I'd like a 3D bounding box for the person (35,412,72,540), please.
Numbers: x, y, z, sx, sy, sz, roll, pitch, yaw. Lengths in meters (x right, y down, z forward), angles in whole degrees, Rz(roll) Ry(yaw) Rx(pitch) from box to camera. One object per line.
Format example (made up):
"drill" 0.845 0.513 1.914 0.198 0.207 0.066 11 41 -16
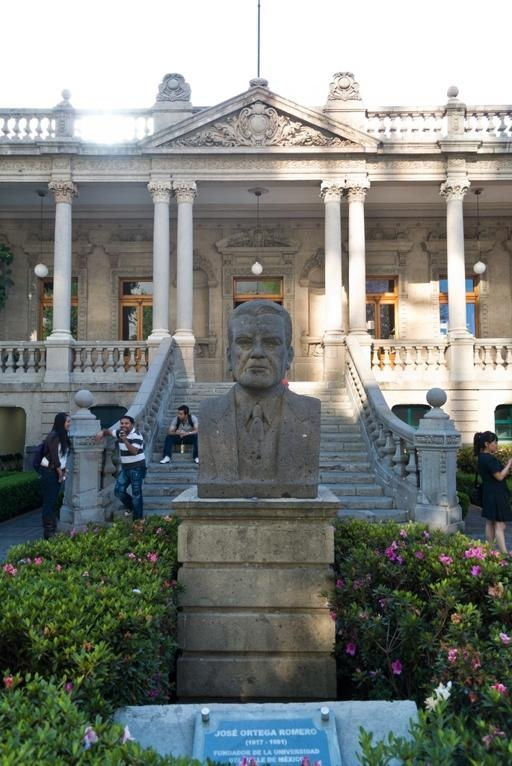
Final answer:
"person" -2.413 1.129 9.467 0.402 1.473 0.514 -1 6 -10

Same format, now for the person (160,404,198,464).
"person" -1.167 0.736 11.805 0.541 0.856 0.774 -1 6 -7

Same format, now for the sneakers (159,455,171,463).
"sneakers" -1.328 1.134 11.622 0.171 0.126 0.066 6 -9 -42

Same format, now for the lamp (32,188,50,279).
"lamp" -5.111 -3.520 18.885 0.393 2.104 0.398 4 7 21

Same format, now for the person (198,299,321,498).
"person" 0.014 0.084 5.181 0.792 1.226 0.717 0 6 -1

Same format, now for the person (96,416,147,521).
"person" -1.581 1.036 9.423 0.486 1.304 1.410 -1 6 -10

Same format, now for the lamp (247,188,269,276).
"lamp" 0.032 -3.691 19.549 0.558 2.098 0.595 1 5 8
